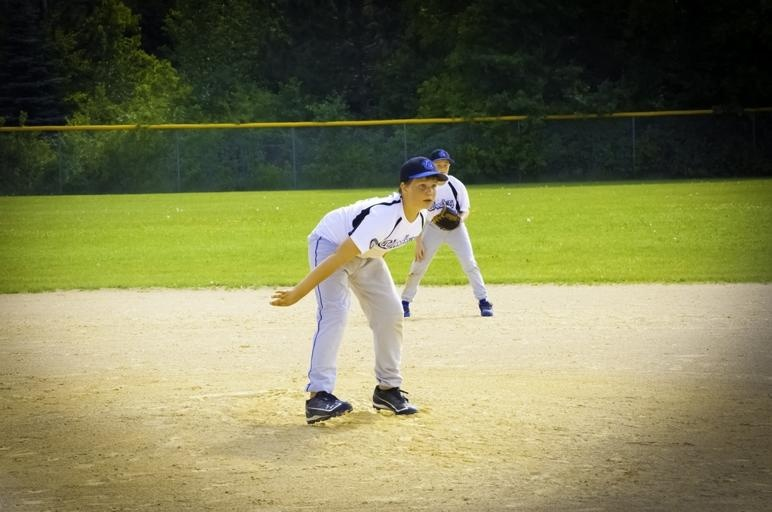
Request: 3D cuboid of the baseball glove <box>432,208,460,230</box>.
[{"bbox_3d":[1.096,-0.688,18.308,0.496,0.305,0.183,7,26,1],"label":"baseball glove"}]
